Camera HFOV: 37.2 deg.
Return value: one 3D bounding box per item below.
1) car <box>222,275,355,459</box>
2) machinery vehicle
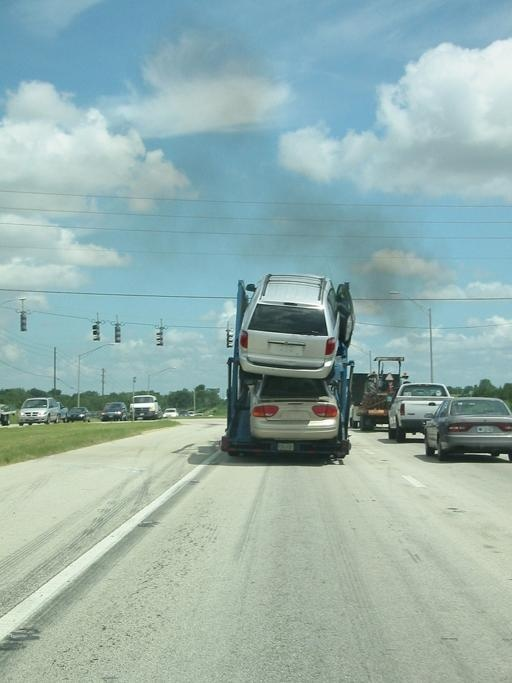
[{"bbox_3d":[0.744,0.525,16.784,2.580,4.205,3.386,-1,-3,7],"label":"car"},{"bbox_3d":[4.865,2.265,29.141,2.059,3.494,2.086,0,0,-3],"label":"machinery vehicle"}]
